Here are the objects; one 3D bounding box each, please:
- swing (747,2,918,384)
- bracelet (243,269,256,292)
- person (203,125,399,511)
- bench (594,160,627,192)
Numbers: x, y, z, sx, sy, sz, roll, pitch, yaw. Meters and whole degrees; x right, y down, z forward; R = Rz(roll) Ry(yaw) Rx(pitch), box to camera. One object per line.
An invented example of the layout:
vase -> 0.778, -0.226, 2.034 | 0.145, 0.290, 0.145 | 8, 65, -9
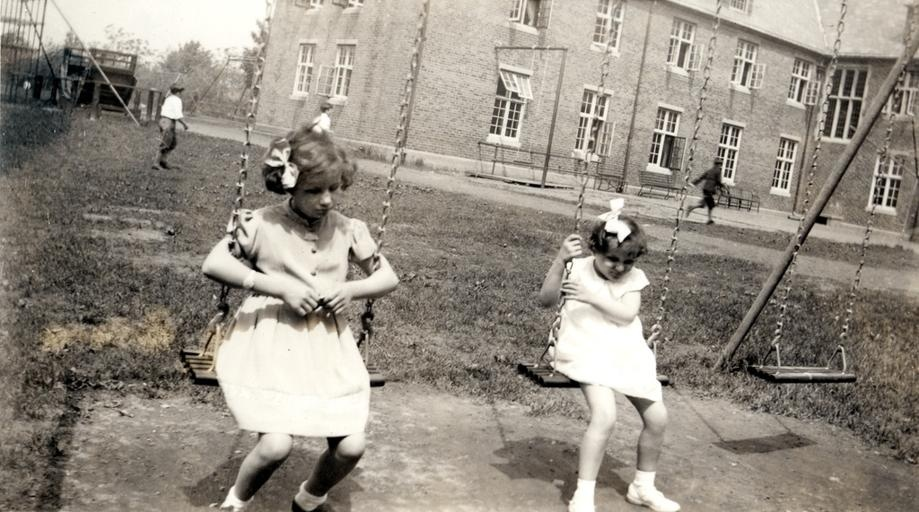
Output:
swing -> 4.808, -0.807, 9.999 | 1.453, 4.823, 4.513 | 14, 15, 24
bracelet -> -1.792, 0.212, 6.583 | 0.095, 0.150, 0.048 | 11, 2, 6
person -> -1.372, 0.588, 6.723 | 1.528, 3.329, 0.932 | 6, 14, -8
bench -> 3.256, -1.730, 16.712 | 0.974, 0.598, 0.374 | -3, 8, -24
